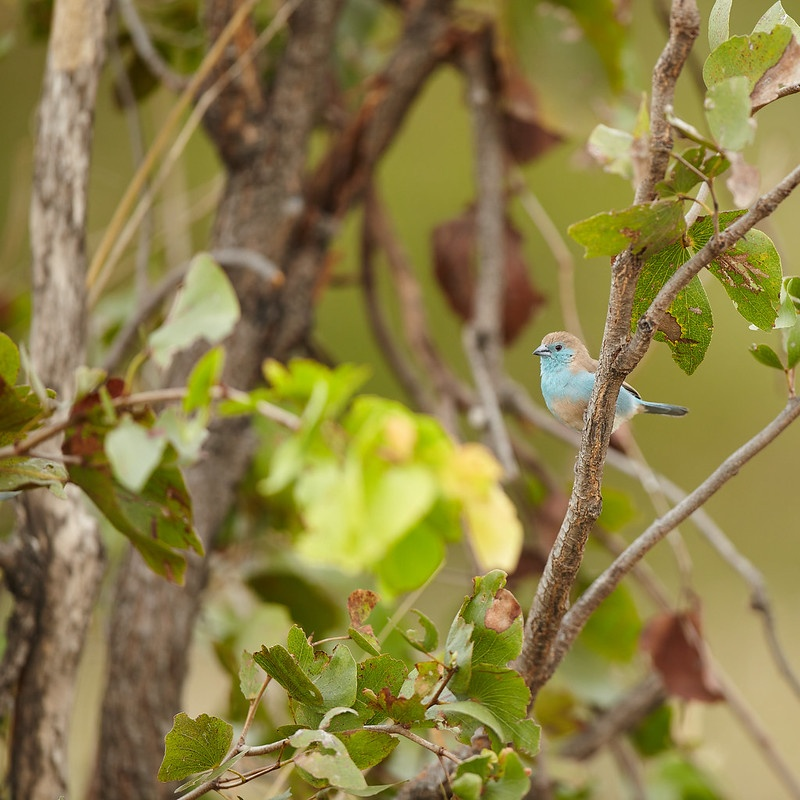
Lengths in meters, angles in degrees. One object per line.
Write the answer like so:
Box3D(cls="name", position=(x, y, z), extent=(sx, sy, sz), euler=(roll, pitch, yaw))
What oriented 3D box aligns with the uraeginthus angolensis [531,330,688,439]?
Box3D(cls="uraeginthus angolensis", position=(0.343, -0.004, 2.144), extent=(0.228, 0.194, 0.105), euler=(2, -28, -13))
